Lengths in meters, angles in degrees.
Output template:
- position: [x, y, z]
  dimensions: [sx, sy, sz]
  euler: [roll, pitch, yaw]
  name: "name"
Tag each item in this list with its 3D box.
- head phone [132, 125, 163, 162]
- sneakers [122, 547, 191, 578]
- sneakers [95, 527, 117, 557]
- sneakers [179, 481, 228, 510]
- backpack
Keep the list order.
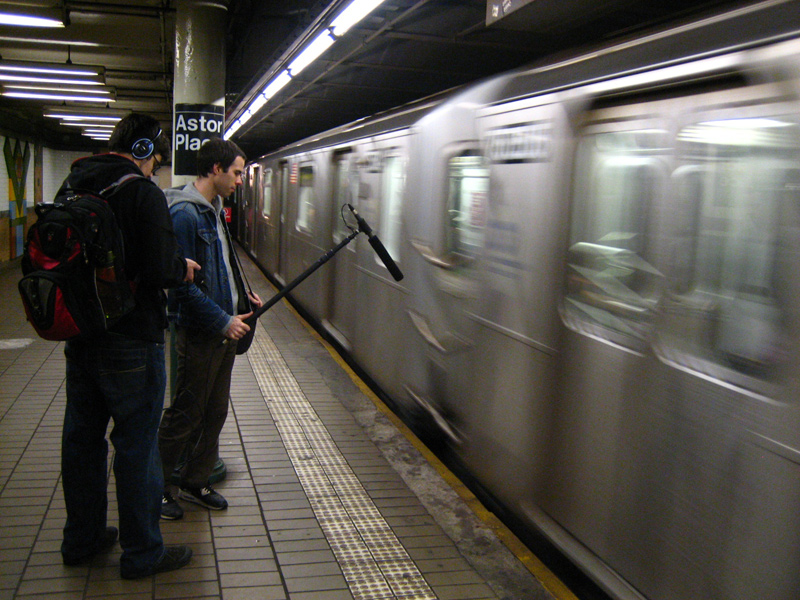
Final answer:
- position: [-1.217, -0.749, 2.599]
  dimensions: [0.154, 0.060, 0.115]
  euler: [-45, 29, -13]
  name: "head phone"
- position: [-1.157, 1.281, 2.607]
  dimensions: [0.104, 0.119, 0.304]
  euler: [9, 4, 35]
  name: "sneakers"
- position: [-1.482, 1.231, 2.736]
  dimensions: [0.053, 0.098, 0.141]
  euler: [10, 16, -6]
  name: "sneakers"
- position: [-1.172, 1.187, 3.298]
  dimensions: [0.321, 0.130, 0.125]
  euler: [11, 12, -2]
  name: "sneakers"
- position: [-1.434, -0.201, 2.420]
  dimensions: [0.475, 0.736, 0.426]
  euler: [4, 4, 14]
  name: "backpack"
